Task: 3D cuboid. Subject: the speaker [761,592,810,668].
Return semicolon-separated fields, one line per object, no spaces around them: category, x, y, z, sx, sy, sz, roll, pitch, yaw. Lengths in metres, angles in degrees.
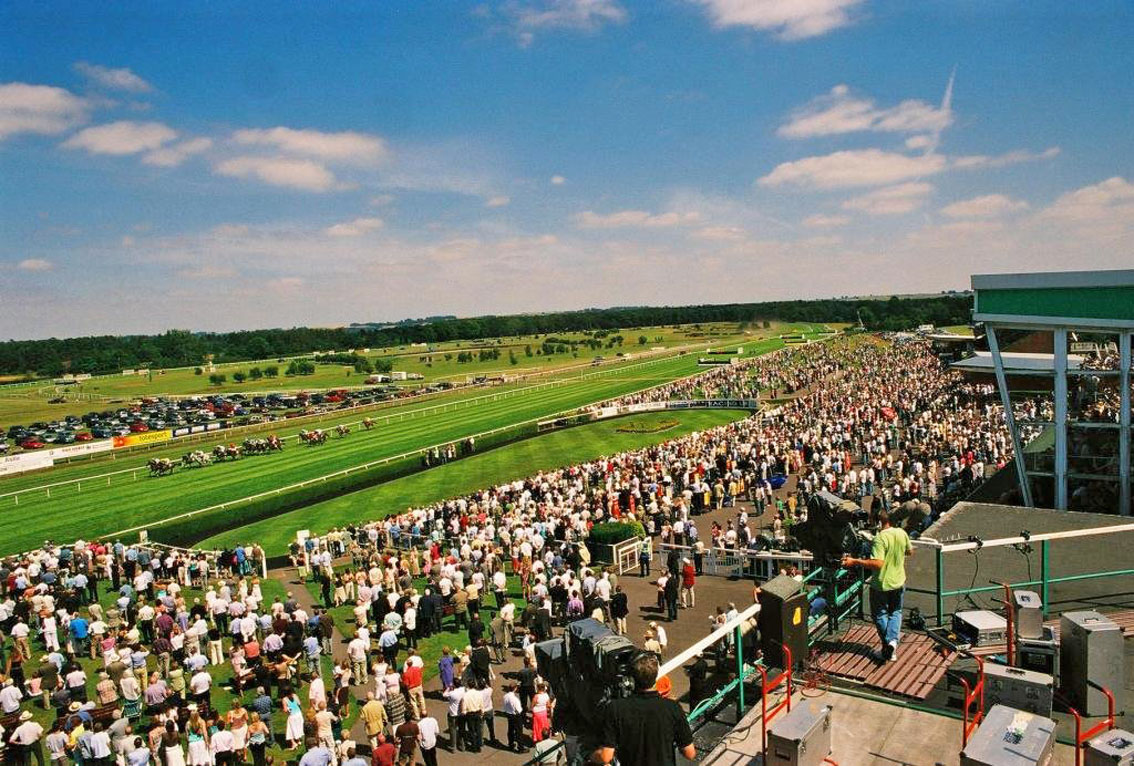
speaker;3.846;4.284;12.087;0.831;1.302;0.852;-1;-3;-42

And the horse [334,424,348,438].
horse;-23.690;4.804;70.404;1.125;0.946;1.637;-4;1;-37
